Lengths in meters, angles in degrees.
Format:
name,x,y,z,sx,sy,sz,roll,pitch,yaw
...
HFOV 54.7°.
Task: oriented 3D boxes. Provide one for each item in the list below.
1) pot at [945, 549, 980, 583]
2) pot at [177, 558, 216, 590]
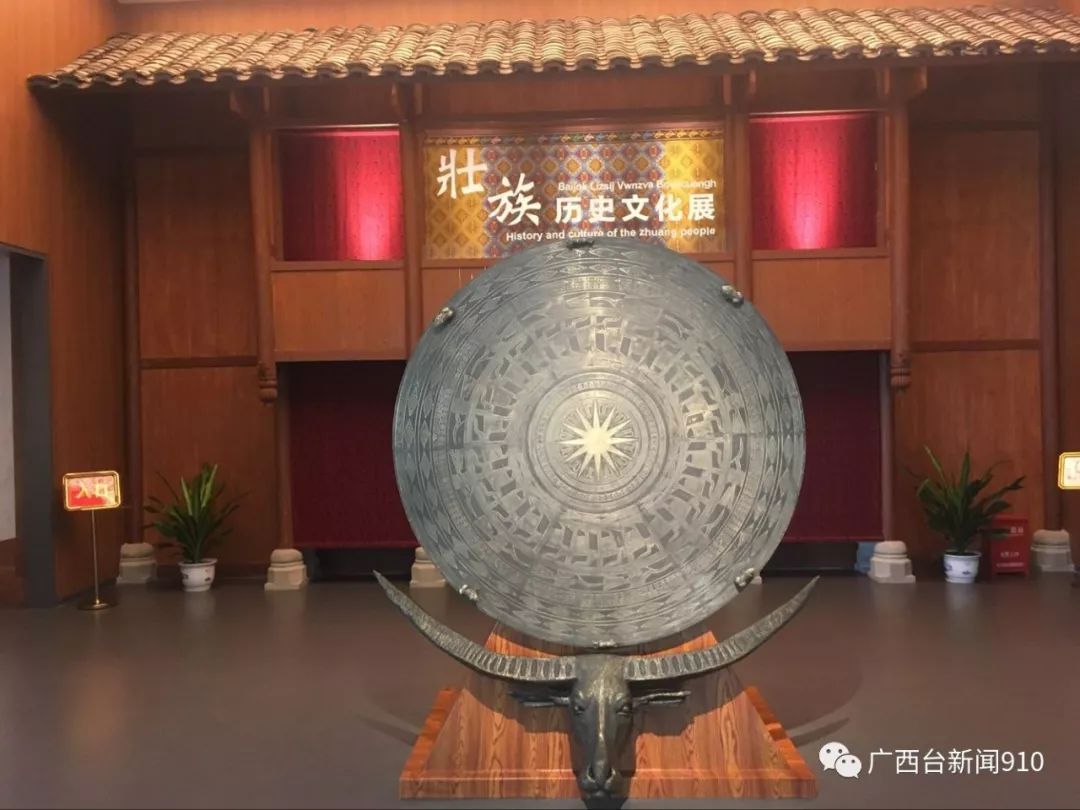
name,x,y,z,sx,sy,sz,roll,pitch,yaw
pot,3.459,1.319,8.577,0.225,0.170,0.241,0,4,0
pot,-2.871,1.416,8.830,0.230,0.199,0.250,0,-2,0
